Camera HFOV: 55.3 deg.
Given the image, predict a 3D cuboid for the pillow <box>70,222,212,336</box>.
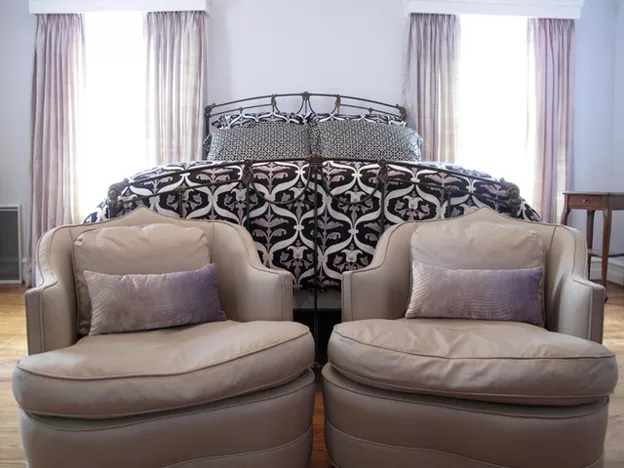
[{"bbox_3d":[-0.841,0.243,2.893,0.459,0.352,0.171,-3,-8,-14],"label":"pillow"}]
